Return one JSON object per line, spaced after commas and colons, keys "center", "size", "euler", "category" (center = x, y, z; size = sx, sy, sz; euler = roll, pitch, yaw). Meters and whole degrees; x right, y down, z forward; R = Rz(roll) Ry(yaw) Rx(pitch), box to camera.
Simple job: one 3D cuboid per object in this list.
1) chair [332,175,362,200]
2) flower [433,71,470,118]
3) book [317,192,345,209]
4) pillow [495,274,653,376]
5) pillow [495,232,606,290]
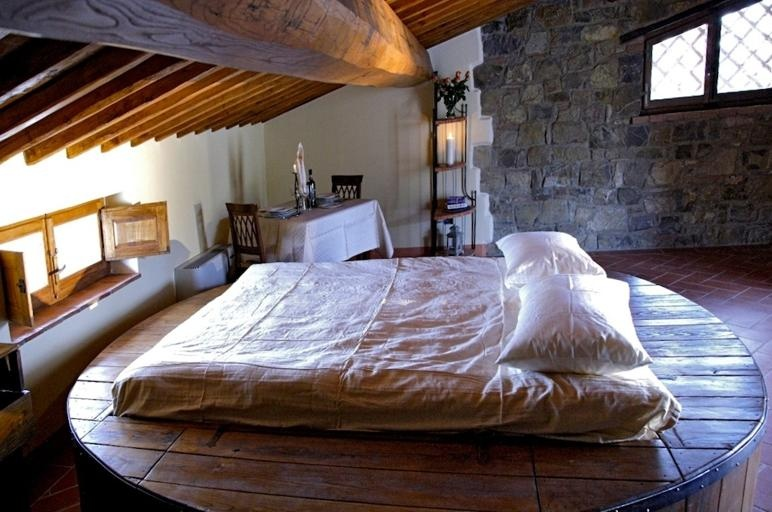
{"center": [-0.446, -0.791, 5.936], "size": [0.307, 0.270, 0.575], "euler": [-8, 10, -12], "category": "chair"}
{"center": [0.737, -1.815, 5.817], "size": [0.466, 0.463, 0.381], "euler": [-10, 11, -6], "category": "flower"}
{"center": [-0.576, -0.580, 5.478], "size": [0.221, 0.054, 0.222], "euler": [2, 17, 34], "category": "book"}
{"center": [0.860, 0.395, 2.421], "size": [0.507, 0.174, 0.552], "euler": [-7, 12, 19], "category": "pillow"}
{"center": [1.030, 0.003, 3.284], "size": [0.458, 0.142, 0.464], "euler": [-4, 23, -2], "category": "pillow"}
